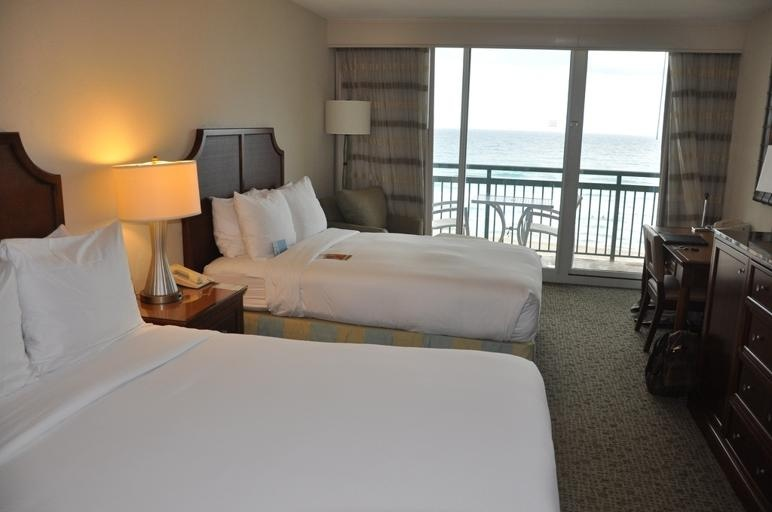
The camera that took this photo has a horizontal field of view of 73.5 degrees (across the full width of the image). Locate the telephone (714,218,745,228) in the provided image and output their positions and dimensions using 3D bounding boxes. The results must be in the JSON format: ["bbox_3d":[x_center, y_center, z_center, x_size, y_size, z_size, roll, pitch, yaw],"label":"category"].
[{"bbox_3d":[3.599,-0.349,5.410,0.235,0.087,0.170,-2,7,-6],"label":"telephone"}]

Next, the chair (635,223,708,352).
[{"bbox_3d":[2.552,0.308,4.606,0.389,0.561,1.112,3,14,10],"label":"chair"}]

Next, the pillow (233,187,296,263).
[{"bbox_3d":[-1.041,-0.350,4.673,0.259,0.593,0.723,6,24,25],"label":"pillow"}]

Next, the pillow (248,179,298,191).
[{"bbox_3d":[-1.160,-0.721,5.217,0.061,0.134,0.579,-15,2,45],"label":"pillow"}]

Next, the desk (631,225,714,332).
[{"bbox_3d":[2.608,0.221,4.677,0.375,0.510,0.996,3,16,10],"label":"desk"}]

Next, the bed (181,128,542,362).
[{"bbox_3d":[-0.075,-0.201,4.840,2.796,1.857,1.868,2,14,9],"label":"bed"}]

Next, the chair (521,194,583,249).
[{"bbox_3d":[2.052,-0.401,6.634,0.716,1.056,0.628,7,14,14],"label":"chair"}]

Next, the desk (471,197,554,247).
[{"bbox_3d":[1.684,-0.419,6.864,0.930,0.601,0.368,3,8,23],"label":"desk"}]

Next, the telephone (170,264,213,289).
[{"bbox_3d":[-1.496,0.165,3.934,0.239,0.075,0.182,15,22,1],"label":"telephone"}]

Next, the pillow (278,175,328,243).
[{"bbox_3d":[-0.804,-0.477,5.088,0.210,0.562,0.549,-14,-3,23],"label":"pillow"}]
